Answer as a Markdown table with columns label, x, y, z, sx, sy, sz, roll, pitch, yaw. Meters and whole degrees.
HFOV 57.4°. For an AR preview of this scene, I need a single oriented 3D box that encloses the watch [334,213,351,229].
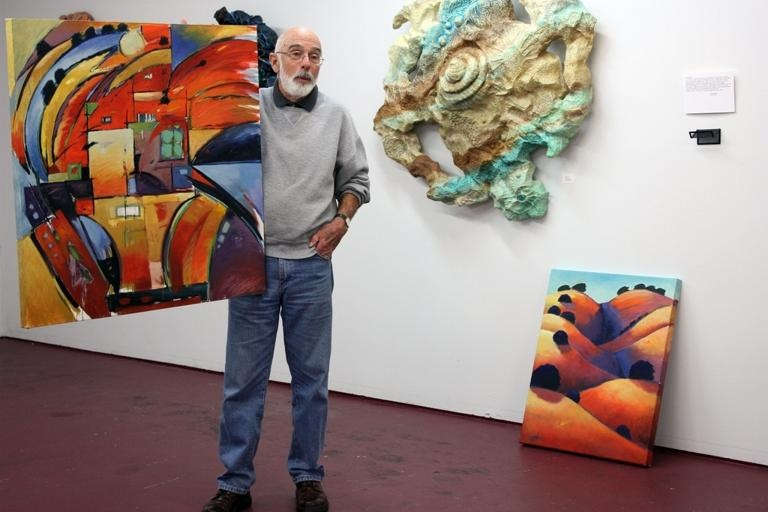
| label | x | y | z | sx | sy | sz | roll | pitch | yaw |
| --- | --- | --- | --- | --- | --- | --- | --- | --- | --- |
| watch | -0.196 | -0.176 | 3.418 | 0.027 | 0.071 | 0.073 | -42 | 38 | -4 |

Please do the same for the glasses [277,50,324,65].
| label | x | y | z | sx | sy | sz | roll | pitch | yaw |
| --- | --- | --- | --- | --- | --- | --- | --- | --- | --- |
| glasses | -0.402 | -0.923 | 3.283 | 0.205 | 0.063 | 0.080 | -1 | 12 | -12 |
